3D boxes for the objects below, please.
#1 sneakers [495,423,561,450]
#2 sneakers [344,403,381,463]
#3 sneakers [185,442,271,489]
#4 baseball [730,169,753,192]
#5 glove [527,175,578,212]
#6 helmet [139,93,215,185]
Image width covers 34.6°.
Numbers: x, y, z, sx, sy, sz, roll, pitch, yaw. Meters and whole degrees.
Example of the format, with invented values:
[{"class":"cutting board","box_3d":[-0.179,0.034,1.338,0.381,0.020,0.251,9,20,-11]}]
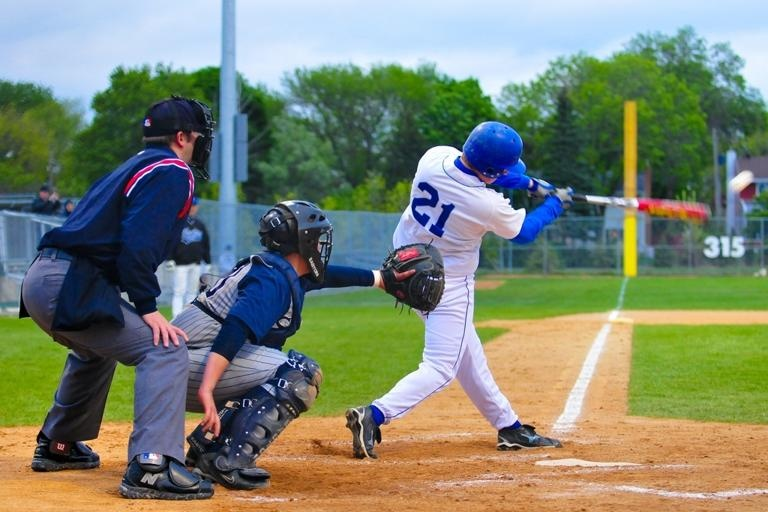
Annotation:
[{"class":"sneakers","box_3d":[1.211,1.586,10.800,0.614,0.248,0.213,0,-6,-6]},{"class":"sneakers","box_3d":[-0.170,1.486,10.458,0.301,0.537,0.189,-20,18,-15]},{"class":"sneakers","box_3d":[-1.287,1.678,9.847,0.673,0.266,0.274,8,0,21]},{"class":"baseball","box_3d":[3.489,-0.716,12.062,0.240,0.213,0.129,2,9,14]},{"class":"glove","box_3d":[1.588,-0.534,11.142,0.395,0.131,0.279,17,-5,-29]},{"class":"helmet","box_3d":[-1.655,-0.971,9.972,0.579,0.540,0.429,1,-2,-19]}]
